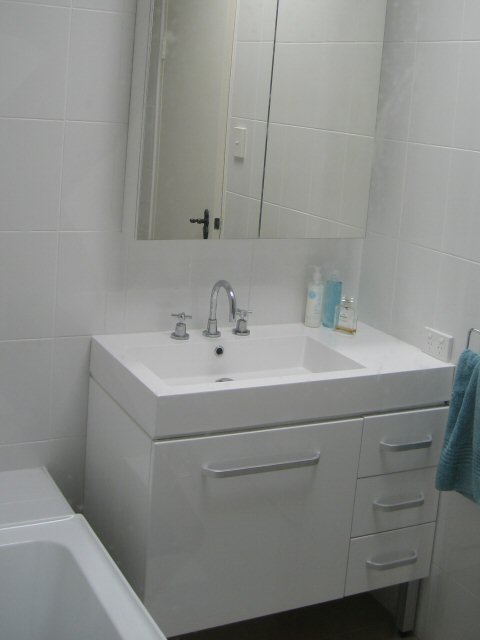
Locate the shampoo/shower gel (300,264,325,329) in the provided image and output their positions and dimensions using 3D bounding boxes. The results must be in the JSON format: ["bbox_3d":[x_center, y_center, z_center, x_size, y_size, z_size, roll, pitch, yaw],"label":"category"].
[{"bbox_3d":[0.256,-0.080,1.826,0.065,0.200,0.095,5,12,5],"label":"shampoo/shower gel"}]

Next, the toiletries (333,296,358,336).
[{"bbox_3d":[0.349,-0.010,1.787,0.075,0.160,0.034,20,23,41],"label":"toiletries"}]

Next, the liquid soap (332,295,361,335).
[{"bbox_3d":[0.353,-0.015,1.800,0.024,0.169,0.079,-14,25,-42],"label":"liquid soap"}]

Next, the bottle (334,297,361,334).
[{"bbox_3d":[0.356,-0.014,1.797,0.026,0.153,0.072,-13,24,-43],"label":"bottle"}]

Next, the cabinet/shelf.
[{"bbox_3d":[0.060,0.428,1.315,0.549,0.427,0.366,-5,16,-23],"label":"cabinet/shelf"}]

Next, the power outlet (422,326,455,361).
[{"bbox_3d":[0.582,0.070,1.552,0.009,0.061,0.075,-3,19,-19],"label":"power outlet"}]
